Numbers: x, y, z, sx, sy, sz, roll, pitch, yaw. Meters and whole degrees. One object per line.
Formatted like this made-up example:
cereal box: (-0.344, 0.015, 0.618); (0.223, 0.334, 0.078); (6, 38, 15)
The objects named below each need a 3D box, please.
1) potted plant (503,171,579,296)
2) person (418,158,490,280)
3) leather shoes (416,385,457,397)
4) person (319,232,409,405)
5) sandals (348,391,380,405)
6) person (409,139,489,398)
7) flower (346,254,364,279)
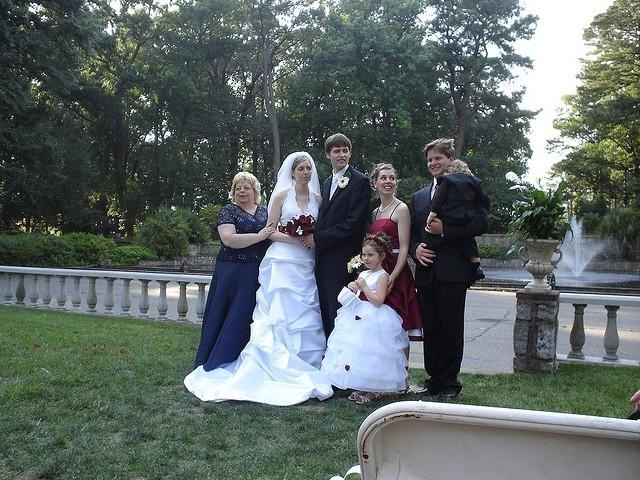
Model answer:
potted plant: (2.855, -0.141, 7.793); (0.771, 1.568, 0.643); (0, -5, 22)
person: (1.607, -0.244, 6.955); (0.758, 1.443, 0.342); (2, -4, 2)
leather shoes: (1.323, 1.750, 6.852); (0.451, 0.204, 0.158); (-16, -13, 37)
person: (0.528, 0.788, 6.798); (0.929, 1.774, 0.319); (2, -4, -1)
sandals: (0.503, 1.782, 6.775); (0.274, 0.075, 0.133); (11, -6, -28)
person: (1.407, 0.344, 7.056); (0.810, 3.030, 0.975); (2, -2, -27)
flower: (0.391, 0.304, 7.236); (0.233, 0.200, 0.272); (8, -5, 32)
